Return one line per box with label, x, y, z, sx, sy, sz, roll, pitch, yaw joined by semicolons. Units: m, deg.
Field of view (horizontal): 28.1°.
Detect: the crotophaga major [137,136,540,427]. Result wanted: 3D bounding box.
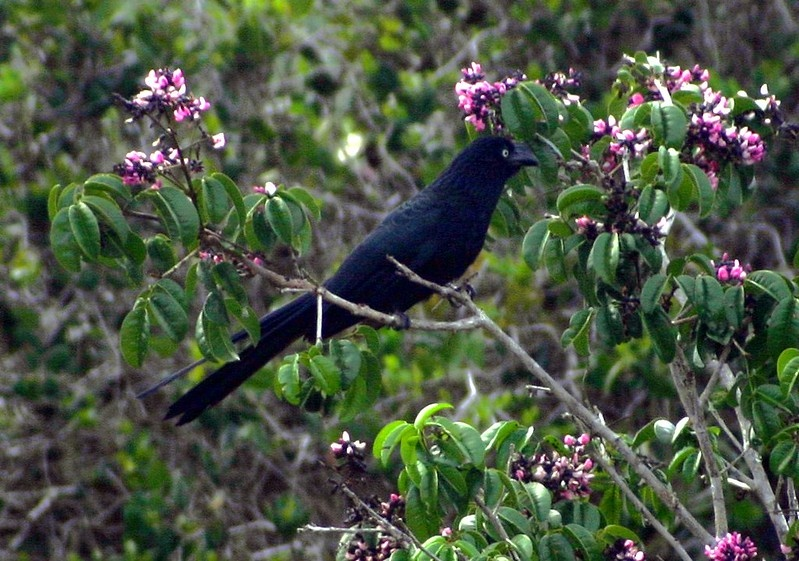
crotophaga major;-0.518;-0.086;10.057;1.689;2.122;1.910;-5;6;-34
